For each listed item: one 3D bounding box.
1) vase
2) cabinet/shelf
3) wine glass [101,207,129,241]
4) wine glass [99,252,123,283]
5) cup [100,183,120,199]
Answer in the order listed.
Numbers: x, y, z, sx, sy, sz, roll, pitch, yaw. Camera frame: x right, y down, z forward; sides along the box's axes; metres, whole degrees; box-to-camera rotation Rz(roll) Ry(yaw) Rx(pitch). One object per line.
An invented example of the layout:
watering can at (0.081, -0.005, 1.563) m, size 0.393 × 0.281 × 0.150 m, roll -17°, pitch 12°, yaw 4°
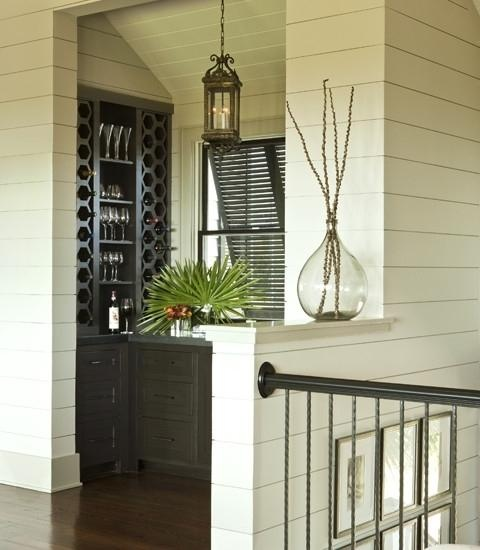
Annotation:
vase at (0.373, -0.031, 2.163) m, size 0.290 × 0.583 × 0.342 m, roll 0°, pitch 1°, yaw 3°
cabinet/shelf at (-0.813, -0.028, 4.183) m, size 0.996 × 3.168 × 0.933 m, roll 1°, pitch -5°, yaw -1°
wine glass at (-1.079, -0.430, 4.301) m, size 0.206 × 0.451 × 0.240 m, roll 0°, pitch 0°, yaw -16°
wine glass at (-1.102, -0.069, 4.265) m, size 0.184 × 0.334 × 0.111 m, roll 1°, pitch -1°, yaw 0°
cup at (-1.088, -0.686, 4.248) m, size 0.120 × 0.114 × 0.128 m, roll -1°, pitch -5°, yaw 0°
